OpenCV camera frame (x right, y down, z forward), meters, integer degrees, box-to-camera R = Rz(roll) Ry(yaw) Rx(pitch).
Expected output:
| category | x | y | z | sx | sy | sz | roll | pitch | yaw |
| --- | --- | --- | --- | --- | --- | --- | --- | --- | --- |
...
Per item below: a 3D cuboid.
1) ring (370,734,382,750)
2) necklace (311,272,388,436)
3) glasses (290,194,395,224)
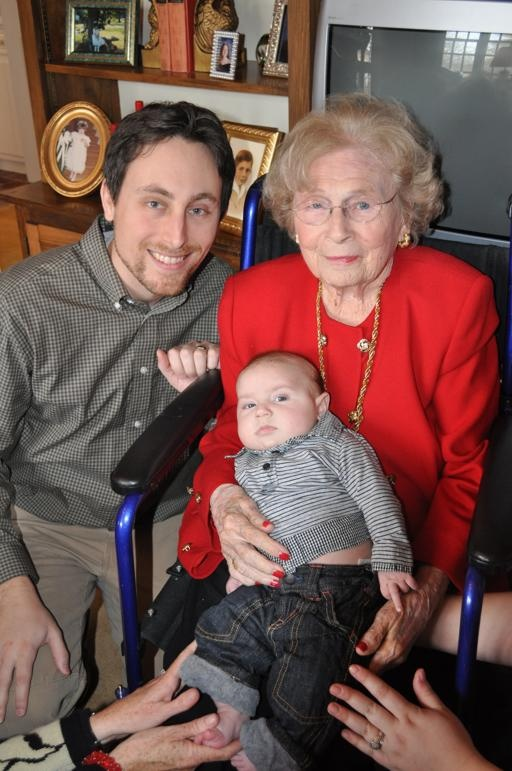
| category | x | y | z | sx | sy | sz | roll | pitch | yaw |
| --- | --- | --- | --- | --- | --- | --- | --- | --- | --- |
| ring | 0.158 | 0.476 | 0.767 | 0.014 | 0.018 | 0.007 | 9 | -9 | 6 |
| necklace | 0.170 | -0.055 | 1.065 | 0.085 | 0.291 | 0.034 | -1 | -1 | 31 |
| glasses | 0.142 | -0.288 | 0.955 | 0.160 | 0.052 | 0.060 | 7 | 24 | 9 |
